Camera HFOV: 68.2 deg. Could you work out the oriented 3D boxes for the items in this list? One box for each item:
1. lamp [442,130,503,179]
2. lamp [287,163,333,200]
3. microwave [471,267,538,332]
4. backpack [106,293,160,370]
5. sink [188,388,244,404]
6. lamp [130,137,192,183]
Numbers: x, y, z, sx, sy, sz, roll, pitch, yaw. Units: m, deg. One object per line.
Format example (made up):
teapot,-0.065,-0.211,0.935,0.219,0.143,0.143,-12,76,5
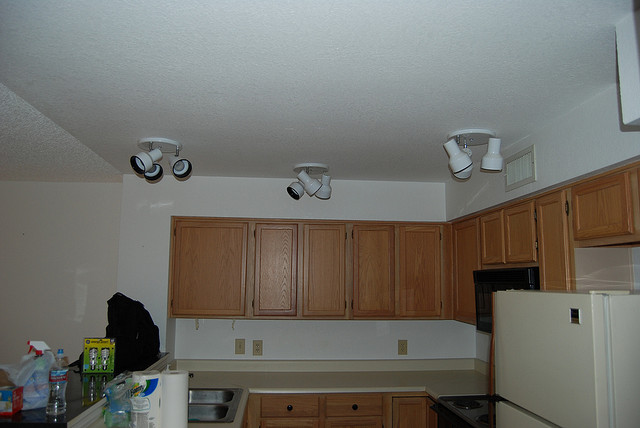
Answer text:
lamp,1.111,-0.400,3.286,0.265,0.328,0.386,-5,2,-13
lamp,-0.049,-0.267,4.054,0.409,0.255,0.322,11,-18,-41
microwave,1.226,0.563,3.115,0.253,0.402,0.484,3,-16,-2
backpack,-1.608,0.962,4.033,0.396,0.694,0.558,-7,11,-37
sink,-0.807,1.460,3.770,0.478,0.108,0.180,-7,-15,26
lamp,-1.163,-0.393,3.424,0.391,0.262,0.387,3,-8,9
